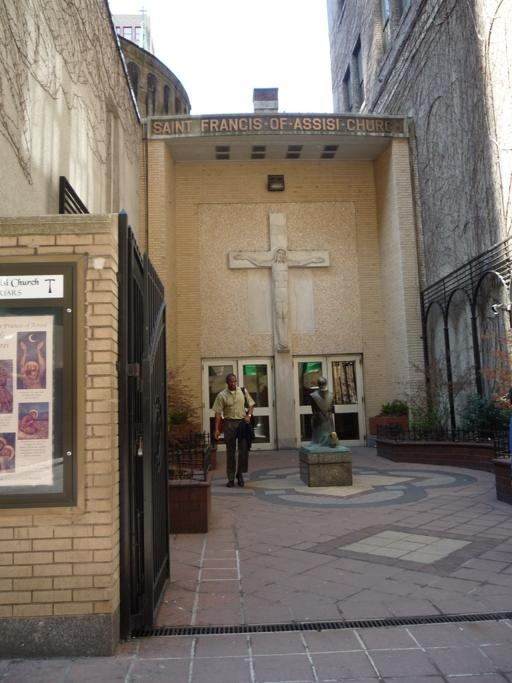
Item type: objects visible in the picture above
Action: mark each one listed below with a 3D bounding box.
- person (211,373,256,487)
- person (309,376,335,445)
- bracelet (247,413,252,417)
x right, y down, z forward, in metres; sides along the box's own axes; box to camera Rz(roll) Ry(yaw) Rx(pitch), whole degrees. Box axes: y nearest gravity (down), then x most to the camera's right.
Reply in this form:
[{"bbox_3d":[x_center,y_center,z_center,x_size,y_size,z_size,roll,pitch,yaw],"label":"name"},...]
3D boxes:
[{"bbox_3d":[-0.329,1.343,8.991,0.550,1.713,1.264,-1,-5,-4],"label":"person"},{"bbox_3d":[1.019,1.076,9.309,0.363,1.035,0.639,-2,-5,5],"label":"person"},{"bbox_3d":[-0.100,1.051,8.753,0.057,0.053,0.034,12,8,18],"label":"bracelet"}]
